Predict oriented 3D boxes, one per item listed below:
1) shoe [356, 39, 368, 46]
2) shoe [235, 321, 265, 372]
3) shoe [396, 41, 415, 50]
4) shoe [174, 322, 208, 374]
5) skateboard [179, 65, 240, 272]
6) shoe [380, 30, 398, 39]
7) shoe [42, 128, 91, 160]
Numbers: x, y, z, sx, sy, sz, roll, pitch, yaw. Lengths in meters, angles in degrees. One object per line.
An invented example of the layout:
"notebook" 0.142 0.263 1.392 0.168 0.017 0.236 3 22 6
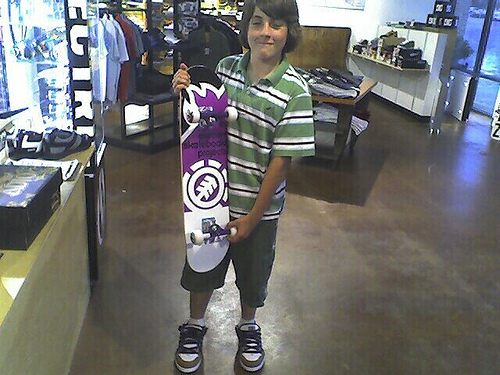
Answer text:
"shoe" 2.322 -2.963 7.989 0.200 0.112 0.210 10 25 13
"shoe" 0.004 0.859 2.156 0.163 0.180 0.223 2 23 -3
"shoe" 2.551 -2.293 6.326 0.207 0.082 0.207 -31 34 -31
"shoe" -0.326 0.856 2.112 0.175 0.203 0.188 0 23 -8
"skateboard" -0.187 -0.026 1.820 0.270 0.994 0.283 -1 22 -9
"shoe" 2.565 -2.764 7.047 0.295 0.142 0.525 19 29 31
"shoe" -1.018 -0.263 2.191 0.110 0.137 0.340 14 22 15
